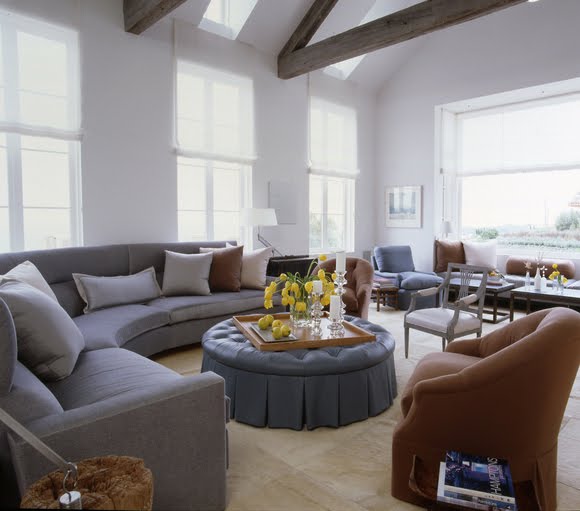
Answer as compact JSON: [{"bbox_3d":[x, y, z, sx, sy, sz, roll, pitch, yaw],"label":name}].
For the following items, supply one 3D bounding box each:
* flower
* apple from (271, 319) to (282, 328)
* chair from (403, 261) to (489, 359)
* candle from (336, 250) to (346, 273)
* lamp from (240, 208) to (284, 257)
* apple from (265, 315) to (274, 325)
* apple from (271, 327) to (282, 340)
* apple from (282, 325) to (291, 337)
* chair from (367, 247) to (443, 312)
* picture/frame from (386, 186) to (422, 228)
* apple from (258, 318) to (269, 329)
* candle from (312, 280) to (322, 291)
[{"bbox_3d":[0.113,0.237,3.277,0.605,0.476,0.514,-1,-2,-34],"label":"flower"},{"bbox_3d":[-0.090,0.451,2.928,0.052,0.055,0.052,0,-9,0],"label":"apple"},{"bbox_3d":[1.501,0.534,4.340,0.744,1.229,0.765,-1,3,-39],"label":"chair"},{"bbox_3d":[0.361,0.049,3.221,0.057,0.158,0.165,1,7,3],"label":"candle"},{"bbox_3d":[-0.323,-0.286,5.540,0.474,0.765,0.465,0,0,-2],"label":"lamp"},{"bbox_3d":[-0.142,0.450,3.090,0.049,0.066,0.052,-17,-7,3],"label":"apple"},{"bbox_3d":[-0.075,0.488,2.825,0.064,0.082,0.062,-15,11,-41],"label":"apple"},{"bbox_3d":[-0.027,0.495,2.909,0.052,0.060,0.057,-6,-4,-3],"label":"apple"},{"bbox_3d":[1.522,0.272,6.307,0.744,0.989,0.995,-3,3,-28],"label":"chair"},{"bbox_3d":[1.934,-0.821,7.494,0.038,0.830,0.686,1,-1,-41],"label":"picture/frame"},{"bbox_3d":[-0.179,0.466,3.024,0.060,0.067,0.063,14,1,4],"label":"apple"},{"bbox_3d":[0.180,0.205,2.959,0.056,0.072,0.059,0,4,-16],"label":"candle"}]
